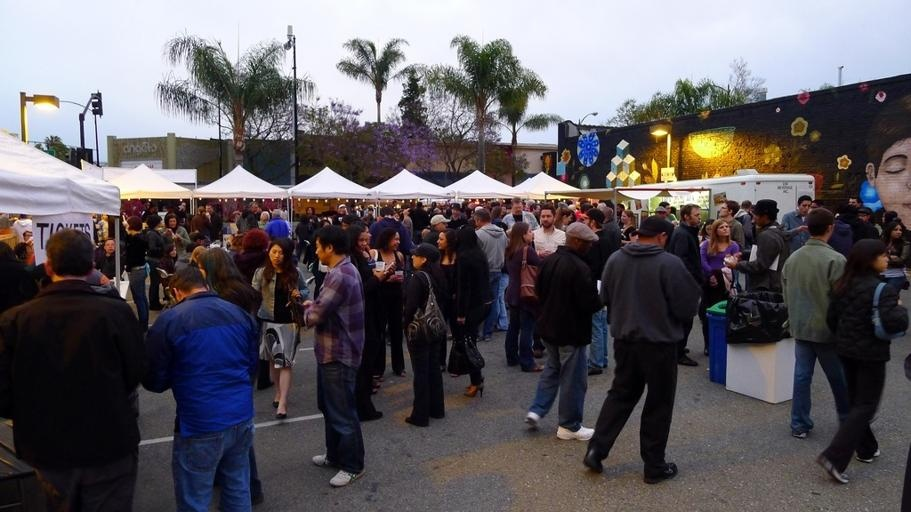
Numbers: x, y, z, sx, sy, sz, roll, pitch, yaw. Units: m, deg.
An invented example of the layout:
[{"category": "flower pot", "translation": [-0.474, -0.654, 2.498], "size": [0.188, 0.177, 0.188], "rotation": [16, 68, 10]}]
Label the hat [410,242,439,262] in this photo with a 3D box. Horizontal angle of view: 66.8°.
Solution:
[{"category": "hat", "translation": [-0.455, -0.024, 10.499], "size": [0.346, 0.184, 0.255], "rotation": [28, 30, -2]}]

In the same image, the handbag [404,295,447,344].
[{"category": "handbag", "translation": [-0.489, 0.978, 10.462], "size": [0.387, 0.721, 0.700], "rotation": [1, -20, -22]}]

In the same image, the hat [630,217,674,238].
[{"category": "hat", "translation": [2.781, -0.337, 9.484], "size": [0.393, 0.249, 0.552], "rotation": [8, 19, 37]}]

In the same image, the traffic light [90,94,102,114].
[{"category": "traffic light", "translation": [-13.357, -5.587, 25.493], "size": [0.300, 0.850, 2.371], "rotation": [-6, 10, -28]}]

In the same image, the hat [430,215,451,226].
[{"category": "hat", "translation": [-0.286, -0.769, 14.188], "size": [0.356, 0.196, 0.237], "rotation": [-8, 8, -20]}]

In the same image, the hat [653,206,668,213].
[{"category": "hat", "translation": [4.433, -1.000, 14.866], "size": [0.333, 0.118, 0.346], "rotation": [0, 7, 3]}]

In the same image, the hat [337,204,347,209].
[{"category": "hat", "translation": [-4.580, -1.964, 27.524], "size": [0.447, 0.152, 0.440], "rotation": [-3, 3, -34]}]

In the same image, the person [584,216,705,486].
[{"category": "person", "translation": [2.543, 1.252, 9.278], "size": [1.324, 3.476, 0.817], "rotation": [1, 8, 17]}]

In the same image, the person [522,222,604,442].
[{"category": "person", "translation": [1.669, 1.080, 10.229], "size": [1.094, 3.075, 1.007], "rotation": [3, 7, 22]}]

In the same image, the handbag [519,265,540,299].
[{"category": "handbag", "translation": [1.221, 0.435, 11.352], "size": [0.544, 0.613, 0.228], "rotation": [3, -5, -39]}]

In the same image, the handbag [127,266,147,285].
[{"category": "handbag", "translation": [-6.445, 0.324, 13.937], "size": [0.447, 0.447, 0.325], "rotation": [-2, 10, -28]}]

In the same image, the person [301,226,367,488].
[{"category": "person", "translation": [-1.609, 1.340, 9.358], "size": [0.699, 3.425, 0.749], "rotation": [-8, 10, -39]}]

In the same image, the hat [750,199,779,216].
[{"category": "hat", "translation": [5.680, -0.880, 12.652], "size": [0.518, 0.224, 0.585], "rotation": [2, 17, 19]}]

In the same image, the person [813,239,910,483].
[{"category": "person", "translation": [5.371, 1.378, 9.201], "size": [1.042, 3.142, 0.663], "rotation": [-3, 8, -7]}]

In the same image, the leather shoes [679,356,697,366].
[{"category": "leather shoes", "translation": [4.087, 1.860, 12.172], "size": [0.367, 0.160, 0.131], "rotation": [4, 10, 27]}]

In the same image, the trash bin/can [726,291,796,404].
[{"category": "trash bin/can", "translation": [4.971, 1.497, 11.199], "size": [1.115, 1.558, 1.101], "rotation": [-1, -3, -20]}]

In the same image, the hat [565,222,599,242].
[{"category": "hat", "translation": [1.837, -0.351, 10.051], "size": [0.368, 0.194, 0.276], "rotation": [5, 12, -1]}]

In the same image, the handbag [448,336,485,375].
[{"category": "handbag", "translation": [0.150, 1.556, 11.158], "size": [0.586, 0.616, 0.426], "rotation": [-2, 8, 23]}]
